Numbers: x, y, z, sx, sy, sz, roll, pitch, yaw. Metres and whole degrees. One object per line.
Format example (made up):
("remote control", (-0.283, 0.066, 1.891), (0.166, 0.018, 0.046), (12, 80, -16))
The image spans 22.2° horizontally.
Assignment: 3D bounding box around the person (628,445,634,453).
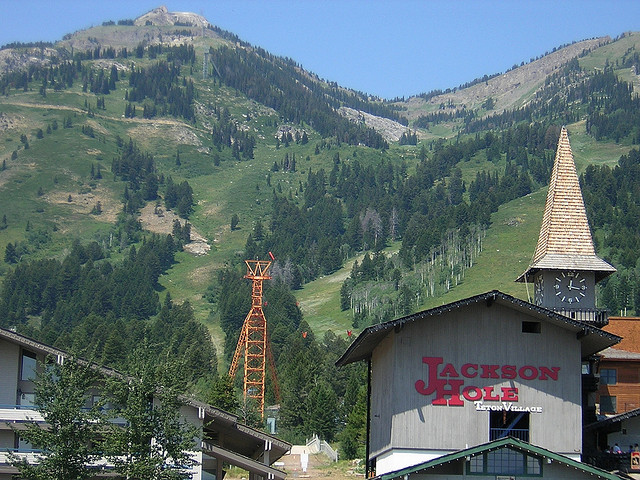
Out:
("person", (106.248, 71.281, 559.532), (1.462, 2.465, 1.079), (0, -20, 10))
